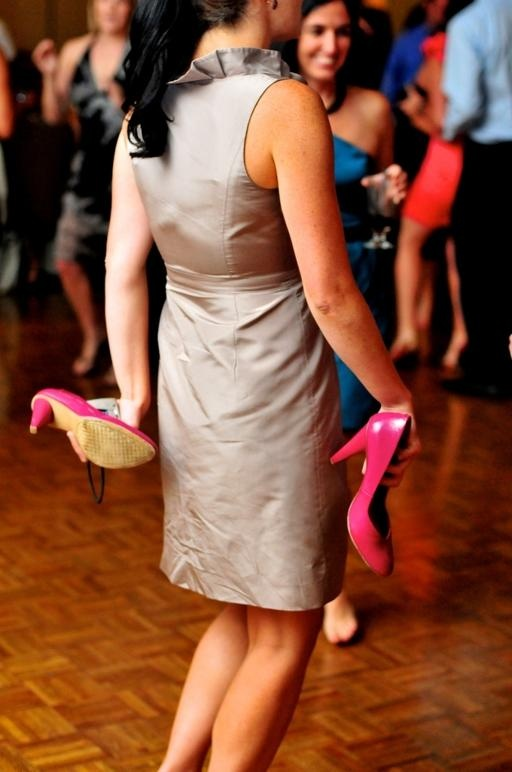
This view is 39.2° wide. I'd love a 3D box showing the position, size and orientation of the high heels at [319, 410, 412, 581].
[{"bbox_3d":[0.162,0.139,1.030,0.141,0.241,0.086,-6,9,12],"label":"high heels"}]
